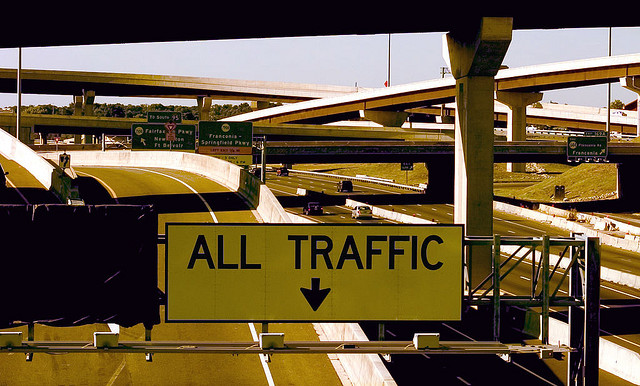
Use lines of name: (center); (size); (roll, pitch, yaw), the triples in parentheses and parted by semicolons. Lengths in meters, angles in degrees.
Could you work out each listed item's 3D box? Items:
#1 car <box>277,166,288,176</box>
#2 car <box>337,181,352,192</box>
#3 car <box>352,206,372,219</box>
car: (-6.672, -3.797, 222.477); (1.537, 1.467, 1.569); (2, -2, 6)
car: (3.867, -0.970, 185.376); (1.407, 1.298, 1.971); (1, -1, 1)
car: (5.347, 2.579, 152.328); (2.323, 1.638, 1.803); (0, 5, 2)
